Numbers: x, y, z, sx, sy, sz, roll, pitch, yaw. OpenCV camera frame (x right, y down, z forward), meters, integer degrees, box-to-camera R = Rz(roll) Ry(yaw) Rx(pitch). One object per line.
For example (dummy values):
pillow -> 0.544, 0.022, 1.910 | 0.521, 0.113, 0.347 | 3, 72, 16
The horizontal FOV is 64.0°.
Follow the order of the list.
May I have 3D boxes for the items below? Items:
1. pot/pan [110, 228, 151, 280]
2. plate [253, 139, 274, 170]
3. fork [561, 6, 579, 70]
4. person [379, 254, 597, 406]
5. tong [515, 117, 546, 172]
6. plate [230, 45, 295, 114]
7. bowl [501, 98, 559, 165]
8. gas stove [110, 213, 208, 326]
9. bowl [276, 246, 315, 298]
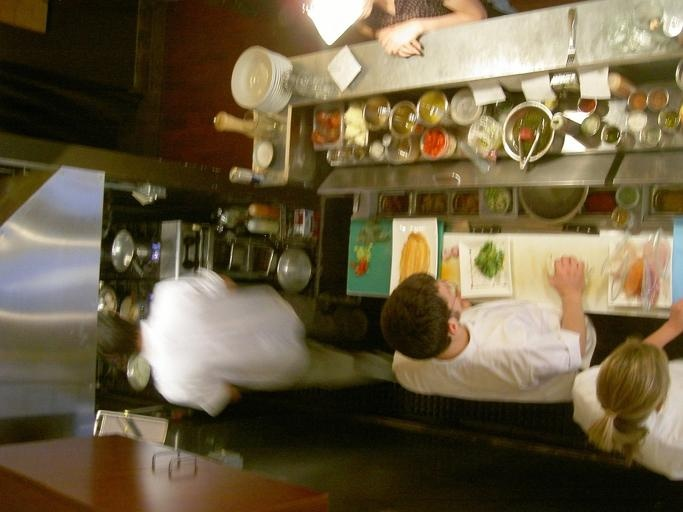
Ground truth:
pot/pan -> -1.149, -0.022, 3.004 | 0.205, 0.189, 0.144 | 41, 18, 26
plate -> -0.392, -0.510, 2.770 | 0.041, 0.146, 0.136 | 12, -13, -42
fork -> 0.851, -0.805, 2.017 | 0.031, 0.211, 0.048 | 2, -10, 9
person -> 0.387, 0.307, 2.678 | 1.653, 0.607, 0.788 | -1, -6, -33
tong -> 0.721, -0.424, 2.091 | 0.065, 0.211, 0.034 | 11, -12, 25
plate -> -0.374, -0.844, 2.730 | 0.301, 0.340, 0.219 | 23, 25, 28
bowl -> 0.719, -0.471, 2.104 | 0.189, 0.239, 0.094 | 12, 13, 37
gas stove -> -0.986, 0.066, 3.037 | 0.543, 0.537, 0.134 | 4, 3, 10
bowl -> -0.240, 0.076, 2.787 | 0.209, 0.248, 0.207 | 4, 10, -1
